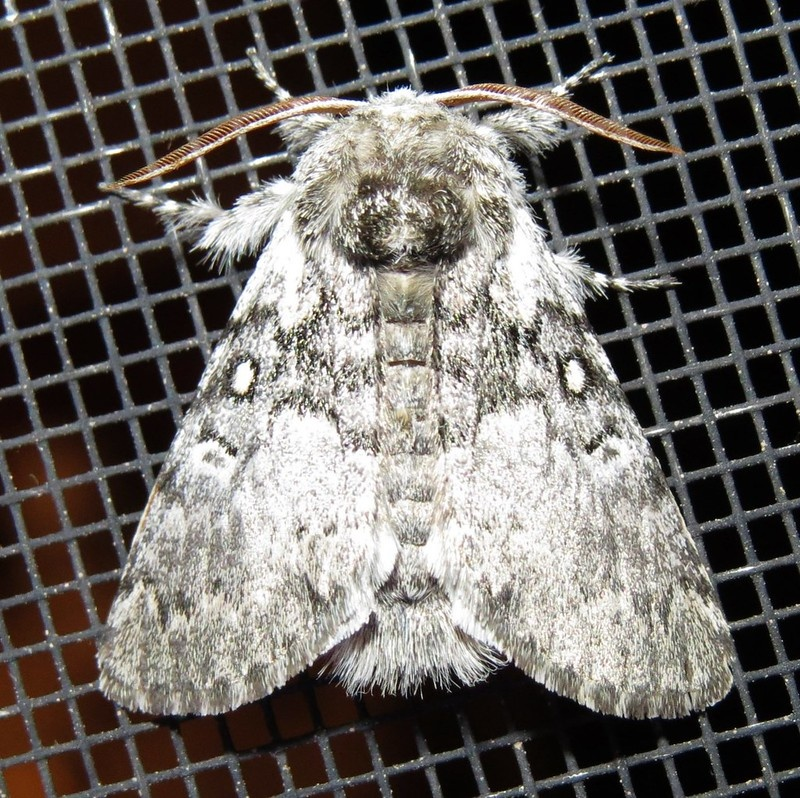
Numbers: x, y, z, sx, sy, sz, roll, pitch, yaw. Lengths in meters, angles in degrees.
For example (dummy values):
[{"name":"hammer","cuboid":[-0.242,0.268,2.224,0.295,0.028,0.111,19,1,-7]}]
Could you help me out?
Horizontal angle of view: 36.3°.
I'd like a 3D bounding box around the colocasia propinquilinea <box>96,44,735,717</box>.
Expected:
[{"name":"colocasia propinquilinea","cuboid":[0.069,-0.040,3.419,1.722,0.490,1.920,-2,88,2]}]
